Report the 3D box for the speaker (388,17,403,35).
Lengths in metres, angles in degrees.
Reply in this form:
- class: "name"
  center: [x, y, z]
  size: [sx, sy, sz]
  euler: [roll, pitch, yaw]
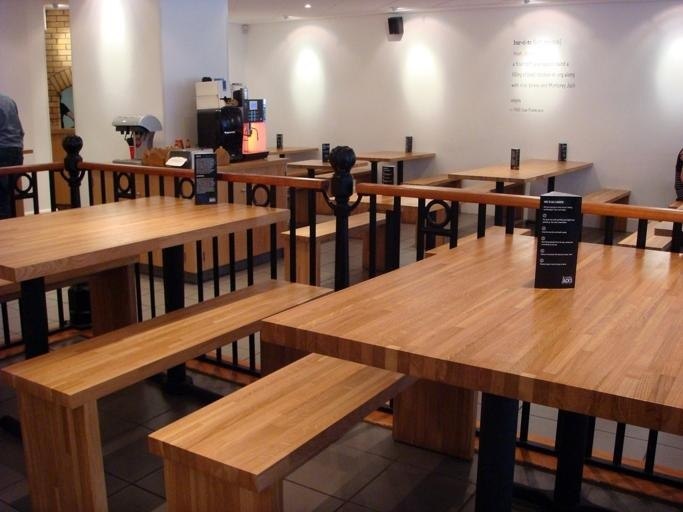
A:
- class: "speaker"
  center: [0.857, -3.659, 8.596]
  size: [0.235, 0.299, 0.207]
  euler: [-1, 15, 5]
